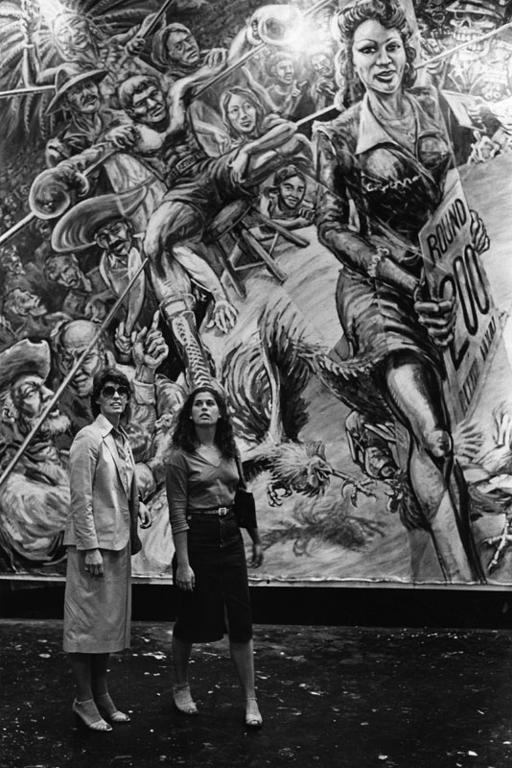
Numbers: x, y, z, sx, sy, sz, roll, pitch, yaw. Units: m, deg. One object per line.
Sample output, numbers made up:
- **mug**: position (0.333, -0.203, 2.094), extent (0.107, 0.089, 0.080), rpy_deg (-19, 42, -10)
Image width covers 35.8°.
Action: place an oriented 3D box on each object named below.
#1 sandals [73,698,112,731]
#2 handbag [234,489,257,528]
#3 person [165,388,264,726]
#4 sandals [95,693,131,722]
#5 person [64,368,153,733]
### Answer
- **sandals**: position (-0.817, 1.618, 3.934), extent (0.282, 0.100, 0.096), rpy_deg (6, -5, 40)
- **handbag**: position (-0.065, 0.672, 4.296), extent (0.129, 0.193, 0.048), rpy_deg (-1, -11, 8)
- **person**: position (-0.229, 0.871, 4.190), extent (0.509, 1.713, 0.421), rpy_deg (2, -5, -6)
- **sandals**: position (-0.759, 1.653, 4.078), extent (0.261, 0.100, 0.086), rpy_deg (-3, -6, 38)
- **person**: position (-0.801, 0.816, 4.069), extent (0.329, 1.792, 0.439), rpy_deg (-1, -5, 20)
